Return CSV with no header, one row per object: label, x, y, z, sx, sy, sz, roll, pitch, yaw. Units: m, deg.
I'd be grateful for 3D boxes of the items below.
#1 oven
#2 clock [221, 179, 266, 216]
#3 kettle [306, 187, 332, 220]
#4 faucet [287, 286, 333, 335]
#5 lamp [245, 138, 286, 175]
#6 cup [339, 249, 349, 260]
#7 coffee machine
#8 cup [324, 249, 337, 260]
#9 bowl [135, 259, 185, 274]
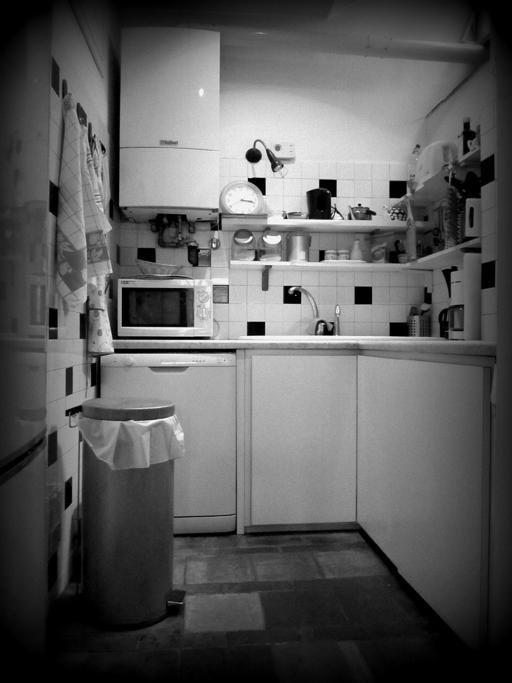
oven,-0.272,0.397,2.610,0.478,1.013,0.589,0,-3,-4
clock,-0.071,-0.705,2.986,0.225,0.177,0.148,0,2,-6
kettle,0.327,-0.703,3.117,0.131,0.159,0.158,0,2,6
faucet,0.288,-0.160,3.136,0.243,0.263,0.190,0,2,2
lamp,0.042,-0.973,3.114,0.204,0.187,0.190,0,2,-1
cup,0.454,-0.451,3.119,0.039,0.053,0.047,0,-2,-6
coffee machine,0.862,-0.134,2.447,0.179,0.406,0.157,-6,-20,43
cup,0.388,-0.447,3.110,0.041,0.058,0.050,0,0,-7
bowl,-0.467,-0.352,2.899,0.215,0.096,0.395,0,2,-8
